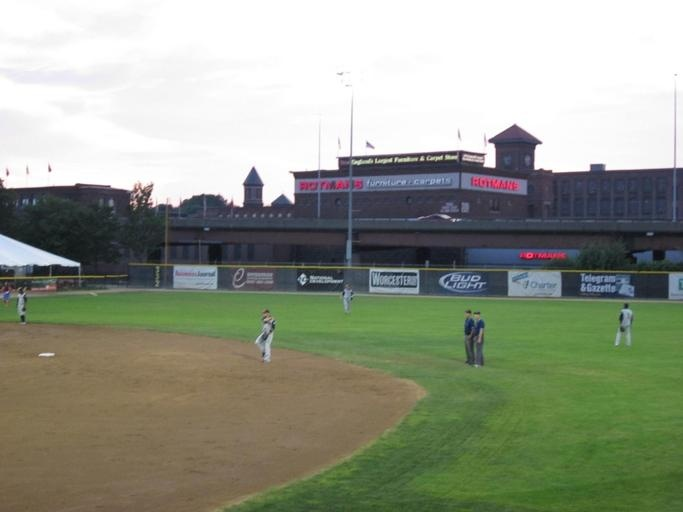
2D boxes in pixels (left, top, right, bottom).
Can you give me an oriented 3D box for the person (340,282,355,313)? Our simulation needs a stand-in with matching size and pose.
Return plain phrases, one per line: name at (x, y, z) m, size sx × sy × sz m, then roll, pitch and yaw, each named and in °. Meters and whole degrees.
person at (0.391, 2.714, 67.566) m, size 1.140 × 1.157 × 2.412 m, roll -2°, pitch 36°, yaw -2°
